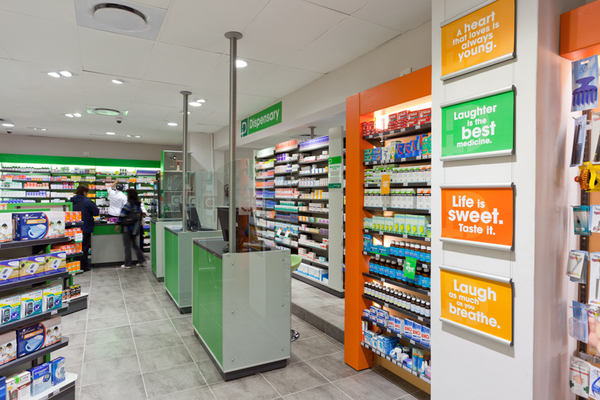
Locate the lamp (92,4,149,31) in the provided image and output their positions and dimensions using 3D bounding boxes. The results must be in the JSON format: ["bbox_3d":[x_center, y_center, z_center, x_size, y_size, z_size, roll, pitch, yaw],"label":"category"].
[{"bbox_3d":[-2.155,-2.194,4.713,0.590,0.169,0.520,-4,9,-27],"label":"lamp"}]

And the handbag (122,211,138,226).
[{"bbox_3d":[-3.860,0.413,9.082,0.353,0.329,0.257,-7,9,18],"label":"handbag"}]

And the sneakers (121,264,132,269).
[{"bbox_3d":[-4.118,1.560,9.294,0.247,0.103,0.096,7,-3,-4],"label":"sneakers"}]

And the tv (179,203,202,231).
[{"bbox_3d":[-1.848,0.270,6.661,0.295,0.423,0.518,-2,8,-16],"label":"tv"}]

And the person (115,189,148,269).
[{"bbox_3d":[-3.936,0.655,9.190,0.538,1.871,0.398,-4,8,-31],"label":"person"}]

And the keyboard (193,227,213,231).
[{"bbox_3d":[-1.609,0.478,6.522,0.277,0.039,0.125,-3,8,-21],"label":"keyboard"}]

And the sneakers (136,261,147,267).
[{"bbox_3d":[-3.863,1.560,9.703,0.318,0.125,0.107,3,-2,-6],"label":"sneakers"}]

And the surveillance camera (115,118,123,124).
[{"bbox_3d":[-4.330,-1.900,9.400,0.103,0.122,0.139,-1,-7,-34],"label":"surveillance camera"}]

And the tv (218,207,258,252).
[{"bbox_3d":[-0.806,0.326,4.849,0.260,0.512,0.639,-6,10,-42],"label":"tv"}]
